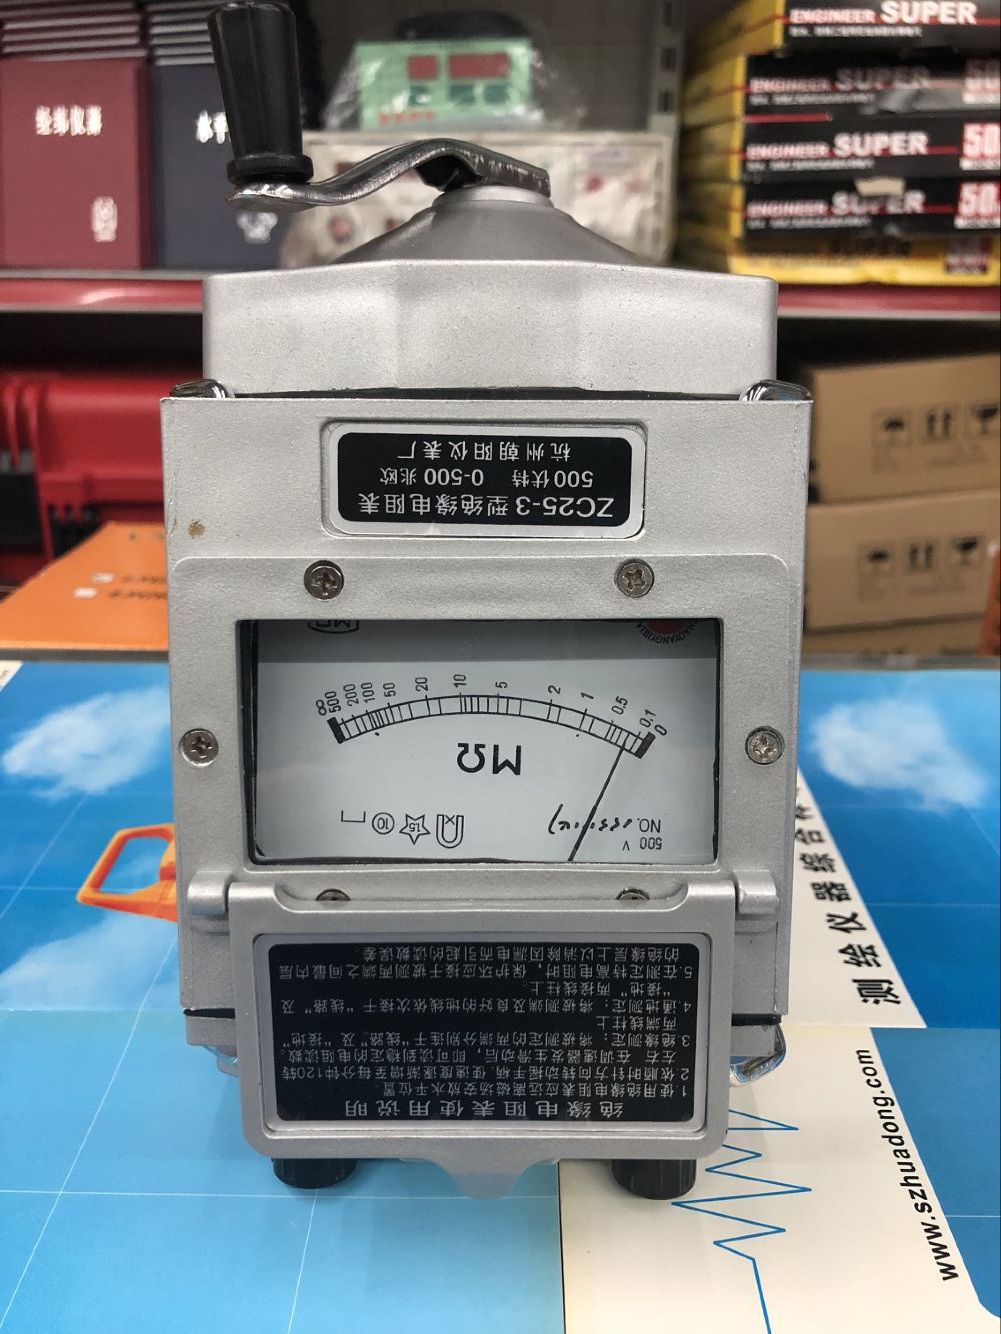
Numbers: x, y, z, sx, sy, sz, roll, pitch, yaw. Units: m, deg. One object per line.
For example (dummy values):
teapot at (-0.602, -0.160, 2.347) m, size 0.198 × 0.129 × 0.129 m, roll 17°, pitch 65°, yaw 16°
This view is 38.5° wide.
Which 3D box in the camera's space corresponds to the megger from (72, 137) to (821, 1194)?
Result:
megger at (0.003, 0.020, 0.854) m, size 0.342 × 0.650 × 0.389 m, roll 2°, pitch 30°, yaw 11°
